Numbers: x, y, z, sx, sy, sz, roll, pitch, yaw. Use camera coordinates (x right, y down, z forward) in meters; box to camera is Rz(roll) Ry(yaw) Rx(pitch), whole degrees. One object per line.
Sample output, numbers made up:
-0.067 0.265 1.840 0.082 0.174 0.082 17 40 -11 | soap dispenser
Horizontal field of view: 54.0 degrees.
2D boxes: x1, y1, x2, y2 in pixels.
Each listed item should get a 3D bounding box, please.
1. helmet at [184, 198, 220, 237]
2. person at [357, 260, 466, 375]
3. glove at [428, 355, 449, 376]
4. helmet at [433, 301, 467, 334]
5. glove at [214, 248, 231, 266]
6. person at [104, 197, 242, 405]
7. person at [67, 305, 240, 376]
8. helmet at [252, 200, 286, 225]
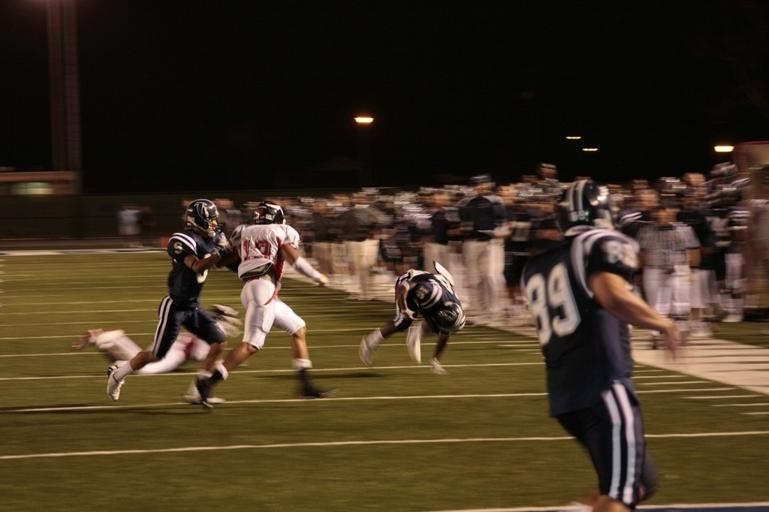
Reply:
-1.856 -0.399 7.884 0.518 0.366 0.386 0 10 -22 | helmet
0.366 0.760 9.136 0.824 1.368 0.875 -1 1 -32 | person
0.632 1.338 9.220 0.227 0.195 0.243 15 -20 -6 | glove
0.744 0.734 8.965 0.362 0.380 0.219 -1 1 1 | helmet
-1.634 0.014 7.575 0.143 0.184 0.331 -1 1 -13 | glove
-2.144 0.395 7.758 1.177 1.952 0.563 0 1 16 | person
-2.565 1.006 8.522 1.798 0.485 0.881 -5 -2 -15 | person
-1.212 -0.449 7.996 0.270 0.209 0.318 11 22 31 | helmet
